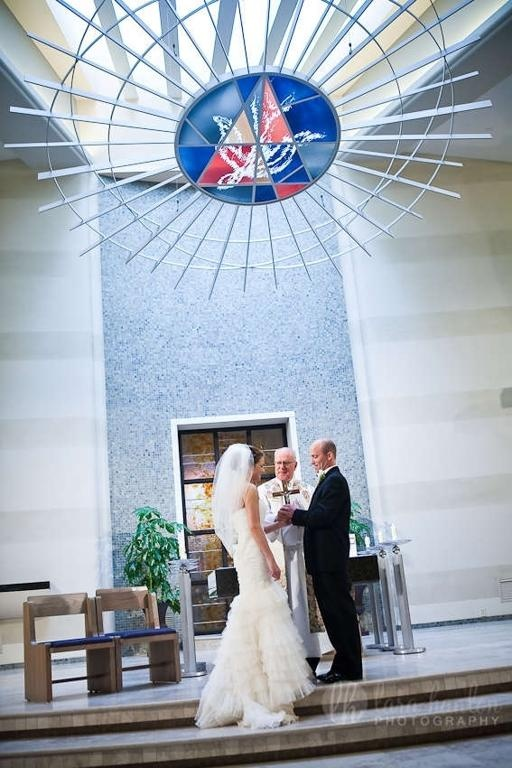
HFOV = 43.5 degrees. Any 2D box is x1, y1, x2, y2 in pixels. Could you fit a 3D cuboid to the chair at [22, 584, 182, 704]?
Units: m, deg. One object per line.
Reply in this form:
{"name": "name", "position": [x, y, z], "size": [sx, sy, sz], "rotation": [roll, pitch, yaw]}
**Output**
{"name": "chair", "position": [-1.166, 1.917, 4.795], "size": [1.132, 0.775, 1.028], "rotation": [-1, -12, -28]}

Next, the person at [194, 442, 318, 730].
{"name": "person", "position": [-0.058, 1.036, 3.486], "size": [0.495, 1.428, 0.548], "rotation": [-16, -14, 40]}

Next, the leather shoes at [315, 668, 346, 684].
{"name": "leather shoes", "position": [0.427, 1.661, 3.641], "size": [0.164, 0.066, 0.060], "rotation": [3, -26, 5]}
